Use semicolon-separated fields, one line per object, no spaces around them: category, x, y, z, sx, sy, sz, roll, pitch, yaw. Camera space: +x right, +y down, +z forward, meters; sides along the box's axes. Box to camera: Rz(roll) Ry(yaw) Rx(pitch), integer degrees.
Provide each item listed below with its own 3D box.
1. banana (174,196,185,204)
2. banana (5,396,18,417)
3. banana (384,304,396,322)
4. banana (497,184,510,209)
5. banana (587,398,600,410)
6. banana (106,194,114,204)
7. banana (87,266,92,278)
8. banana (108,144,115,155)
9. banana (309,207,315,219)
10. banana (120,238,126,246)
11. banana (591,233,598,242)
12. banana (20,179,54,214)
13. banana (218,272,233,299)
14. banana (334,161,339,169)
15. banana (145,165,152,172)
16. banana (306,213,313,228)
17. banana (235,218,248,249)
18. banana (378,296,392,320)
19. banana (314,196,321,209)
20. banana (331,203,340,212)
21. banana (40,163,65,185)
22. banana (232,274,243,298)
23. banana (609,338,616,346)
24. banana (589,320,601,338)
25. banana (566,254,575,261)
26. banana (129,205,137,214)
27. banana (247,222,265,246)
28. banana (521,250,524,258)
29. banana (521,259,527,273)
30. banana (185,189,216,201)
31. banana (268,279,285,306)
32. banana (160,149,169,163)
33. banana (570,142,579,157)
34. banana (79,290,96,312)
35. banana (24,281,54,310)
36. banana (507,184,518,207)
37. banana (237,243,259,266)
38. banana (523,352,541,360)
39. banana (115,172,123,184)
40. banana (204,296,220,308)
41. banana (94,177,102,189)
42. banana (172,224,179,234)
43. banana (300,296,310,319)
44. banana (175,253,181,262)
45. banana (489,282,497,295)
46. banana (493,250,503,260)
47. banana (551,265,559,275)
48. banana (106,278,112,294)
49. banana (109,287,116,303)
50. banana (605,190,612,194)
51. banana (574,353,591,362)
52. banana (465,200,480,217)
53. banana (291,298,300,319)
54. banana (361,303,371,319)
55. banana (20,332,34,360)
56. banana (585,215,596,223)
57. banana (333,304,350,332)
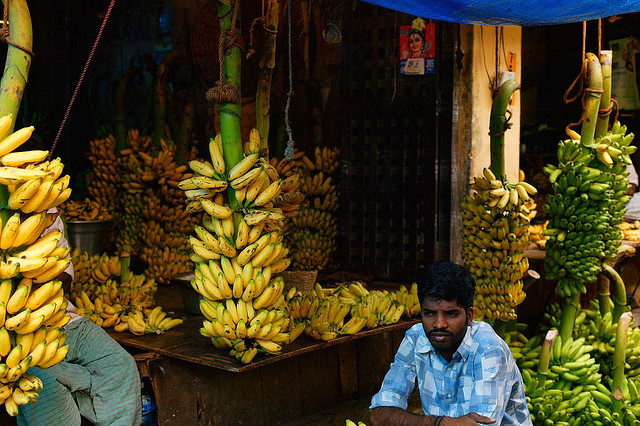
banana;-1.796;-0.150;7.405;0.116;0.091;0.059;-1;5;-16
banana;-1.991;1.245;3.726;0.053;0.128;0.099;-3;6;-39
banana;0.681;0.959;5.560;0.069;0.054;0.210;0;47;53
banana;1.620;-0.142;5.120;0.057;0.218;0.065;34;-27;-33
banana;2.481;1.727;5.268;0.041;0.147;0.048;-41;1;45
banana;-2.811;-0.177;7.737;0.062;0.129;0.039;-11;-4;15
banana;-2.391;0.616;6.004;0.027;0.112;0.034;1;-10;-10
banana;-2.806;-0.831;7.756;0.079;0.141;0.035;2;1;-24
banana;-0.112;0.010;7.469;0.034;0.136;0.039;-2;-2;7
banana;-2.561;0.380;7.500;0.053;0.120;0.037;-2;0;3
banana;2.388;0.221;5.042;0.032;0.067;0.021;19;2;3
banana;-1.850;-0.049;3.771;0.342;0.118;0.093;-41;-37;22
banana;-0.756;0.587;4.573;0.064;0.260;0.082;-17;11;10
banana;0.221;-0.621;7.616;0.055;0.078;0.019;-9;12;-44
banana;-2.192;-0.558;7.372;0.104;0.078;0.035;2;5;12
banana;-0.135;0.107;7.511;0.043;0.181;0.058;10;6;10
banana;-0.621;0.179;4.616;0.078;0.213;0.065;1;-12;30
banana;0.606;0.891;5.558;0.062;0.243;0.084;18;-16;47
banana;-0.031;-0.125;7.519;0.061;0.125;0.089;3;20;10
banana;0.200;-0.064;7.595;0.038;0.149;0.046;32;1;-23
banana;-1.735;-0.251;3.779;0.164;0.055;0.059;-37;-2;40
banana;-0.652;0.579;4.572;0.060;0.178;0.065;-17;48;-19
banana;2.773;1.215;5.506;0.050;0.076;0.097;10;-27;24
banana;2.706;1.135;5.694;0.061;0.189;0.042;-6;-30;-45
banana;2.217;0.401;5.130;0.048;0.043;0.039;-4;-3;24
banana;-2.400;-0.034;7.403;0.034;0.164;0.044;-25;3;35
banana;-0.517;0.163;4.666;0.066;0.228;0.072;24;-12;-4
banana;1.871;0.386;5.358;0.022;0.072;0.050;6;4;8
banana;1.856;0.481;5.286;0.074;0.099;0.027;-4;6;-42
banana;-0.976;-0.141;4.751;0.305;0.095;0.112;-3;6;10
banana;-0.341;0.643;4.770;0.083;0.265;0.066;23;14;-28
banana;-1.992;-0.711;7.367;0.041;0.229;0.059;22;-18;8
banana;2.241;-0.549;5.112;0.030;0.124;0.040;24;11;20
banana;-2.243;0.852;5.565;0.042;0.171;0.060;-30;-10;-26
banana;-1.815;0.540;3.732;0.071;0.259;0.084;43;-6;-9
banana;1.703;-0.126;5.084;0.052;0.049;0.167;-14;31;21
banana;-0.576;0.332;4.638;0.089;0.236;0.079;39;16;-2
banana;2.083;1.393;5.717;0.152;0.068;0.079;3;5;25
banana;-2.652;-0.448;7.638;0.036;0.151;0.049;-10;4;24
banana;-0.874;0.719;4.660;0.124;0.029;0.045;28;-2;-17
banana;-2.979;-0.393;7.796;0.055;0.047;0.214;-12;40;-17
banana;-1.843;0.207;7.354;0.059;0.120;0.034;8;-5;-31
banana;-0.140;0.872;5.330;0.057;0.200;0.061;7;3;-9
banana;-1.755;0.561;7.151;0.140;0.027;0.039;-53;3;-35
banana;1.586;0.699;5.323;0.041;0.142;0.039;-18;-6;-20
banana;1.614;0.381;5.265;0.061;0.083;0.065;-13;7;27
banana;2.139;0.520;5.261;0.042;0.093;0.071;1;5;6
banana;-2.069;0.720;5.681;0.034;0.129;0.040;7;-25;-9
banana;-2.027;0.797;5.644;0.062;0.126;0.044;2;5;16
banana;2.490;-0.177;5.013;0.046;0.037;0.016;10;-17;-43
banana;2.448;1.347;5.392;0.246;0.051;0.071;-3;6;-41
banana;1.394;-0.041;5.357;0.048;0.204;0.069;-45;-4;17
banana;-0.232;0.886;5.380;0.081;0.204;0.057;0;0;3
banana;0.426;0.922;5.422;0.035;0.133;0.042;-4;-2;6
banana;-1.888;0.853;3.739;0.043;0.177;0.054;16;-2;0
banana;2.343;0.057;5.013;0.087;0.067;0.034;1;5;7
banana;0.193;0.927;5.271;0.069;0.285;0.092;22;-12;22
